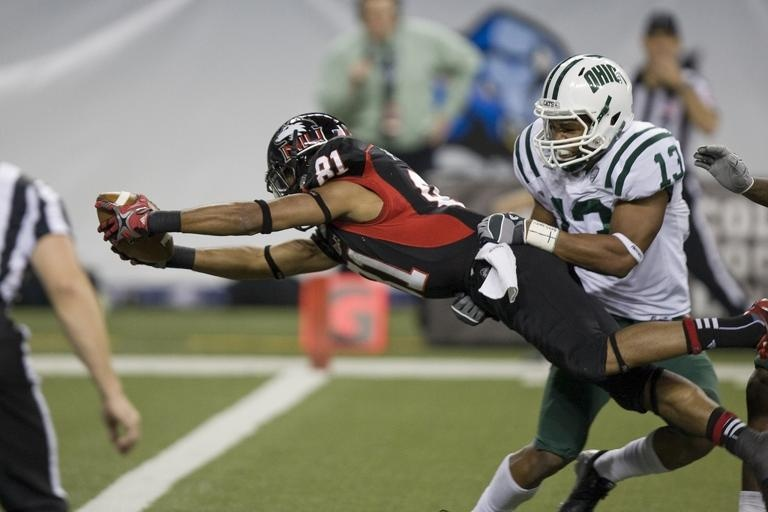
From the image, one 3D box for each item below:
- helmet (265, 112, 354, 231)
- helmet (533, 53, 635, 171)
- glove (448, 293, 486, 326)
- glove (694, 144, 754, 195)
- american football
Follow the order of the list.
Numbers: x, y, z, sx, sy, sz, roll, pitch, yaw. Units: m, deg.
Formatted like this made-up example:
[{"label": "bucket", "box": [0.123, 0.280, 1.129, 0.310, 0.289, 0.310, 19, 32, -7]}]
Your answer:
[{"label": "helmet", "box": [-0.430, -0.567, 4.925, 0.511, 0.503, 0.406, -6, 1, -3]}, {"label": "helmet", "box": [1.103, -0.807, 4.796, 0.604, 0.568, 0.478, -10, 19, -12]}, {"label": "glove", "box": [0.442, 0.287, 4.602, 0.187, 0.064, 0.134, 44, 69, 8]}, {"label": "glove", "box": [1.851, -0.475, 4.768, 0.321, 0.234, 0.130, 39, 71, 10]}, {"label": "american football", "box": [-1.333, -0.123, 4.703, 0.327, 0.449, 0.164, -2, 59, 11]}]
